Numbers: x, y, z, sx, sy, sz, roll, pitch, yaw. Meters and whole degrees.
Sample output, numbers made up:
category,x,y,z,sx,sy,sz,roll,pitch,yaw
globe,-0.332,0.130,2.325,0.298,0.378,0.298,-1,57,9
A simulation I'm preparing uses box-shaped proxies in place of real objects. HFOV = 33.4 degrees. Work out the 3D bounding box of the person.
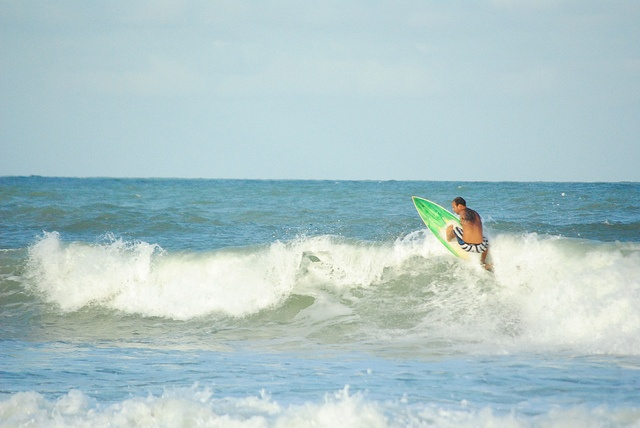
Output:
category,x,y,z,sx,sy,sz,roll,pitch,yaw
person,3.808,0.626,27.367,1.016,1.977,1.064,-7,13,12

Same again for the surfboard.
category,x,y,z,sx,sy,sz,roll,pitch,yaw
surfboard,3.288,0.412,28.040,0.364,0.840,3.366,16,23,-41
